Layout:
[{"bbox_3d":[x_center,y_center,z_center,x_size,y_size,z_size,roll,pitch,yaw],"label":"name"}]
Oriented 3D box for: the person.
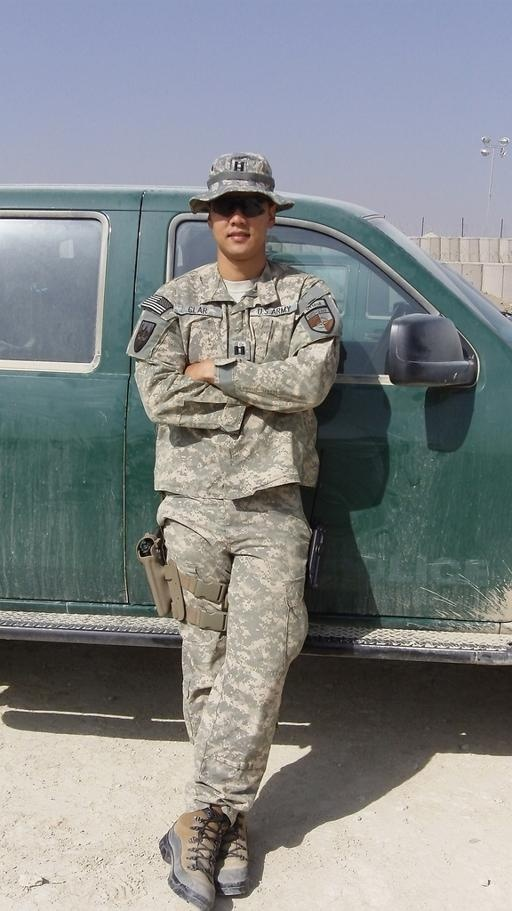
[{"bbox_3d":[-0.051,0.142,1.998,0.542,1.897,0.605,0,7,-17],"label":"person"}]
